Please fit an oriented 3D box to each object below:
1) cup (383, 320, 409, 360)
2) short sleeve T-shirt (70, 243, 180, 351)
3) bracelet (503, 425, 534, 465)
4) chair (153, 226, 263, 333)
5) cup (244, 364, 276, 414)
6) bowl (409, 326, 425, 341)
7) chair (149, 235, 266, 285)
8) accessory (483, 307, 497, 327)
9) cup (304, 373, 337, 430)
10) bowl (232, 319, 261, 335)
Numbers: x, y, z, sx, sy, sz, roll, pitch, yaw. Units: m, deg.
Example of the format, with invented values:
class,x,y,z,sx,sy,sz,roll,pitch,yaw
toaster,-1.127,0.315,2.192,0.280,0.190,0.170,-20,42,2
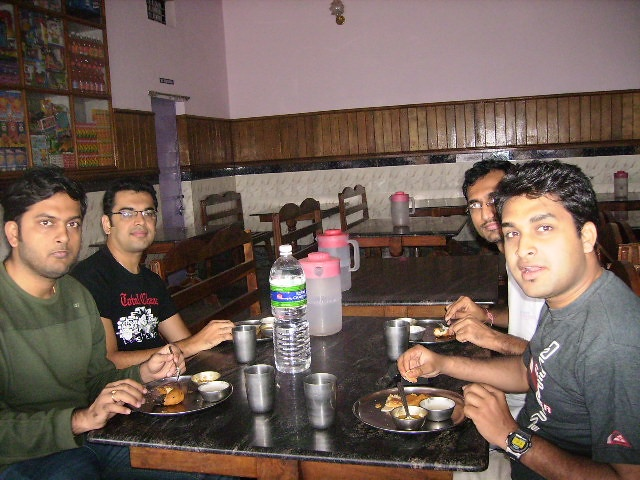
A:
class,x,y,z,sx,sy,sz,roll,pitch,yaw
cup,0.256,0.345,1.619,0.124,0.123,0.118,2,1,0
short sleeve T-shirt,-0.844,0.258,2.031,0.305,0.485,0.489,-10,-6,27
bracelet,0.492,0.510,1.173,0.079,0.073,0.058,-42,53,-18
chair,-0.803,0.272,3.321,0.398,0.670,0.947,11,22,32
cup,-0.157,0.407,1.313,0.125,0.126,0.120,0,2,0
bowl,0.366,0.355,1.792,0.050,0.020,0.049,-1,4,0
chair,-0.901,0.165,3.687,0.732,0.338,0.491,0,5,18
accessory,0.738,0.339,2.035,0.031,0.088,0.094,4,6,-7
cup,0.003,0.430,1.269,0.124,0.126,0.115,-1,-2,0
bowl,-0.301,0.349,1.959,0.101,0.025,0.094,2,5,0
